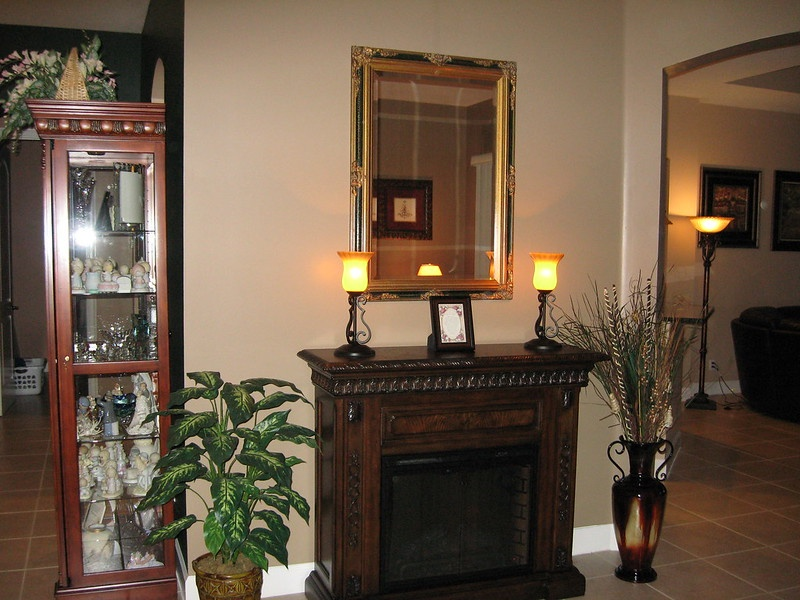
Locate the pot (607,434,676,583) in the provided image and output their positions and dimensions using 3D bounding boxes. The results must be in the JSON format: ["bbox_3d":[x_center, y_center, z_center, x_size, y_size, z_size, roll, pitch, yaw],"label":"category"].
[{"bbox_3d":[1.447,1.261,3.978,0.377,0.868,0.321,2,5,10],"label":"pot"}]

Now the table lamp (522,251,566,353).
[{"bbox_3d":[0.875,-0.010,3.934,0.209,0.551,0.482,4,9,12],"label":"table lamp"}]

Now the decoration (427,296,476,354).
[{"bbox_3d":[0.304,0.112,3.758,0.228,0.317,0.204,-3,18,13],"label":"decoration"}]

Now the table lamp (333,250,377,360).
[{"bbox_3d":[-0.242,0.007,3.583,0.209,0.544,0.436,2,9,-3],"label":"table lamp"}]

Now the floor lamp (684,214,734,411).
[{"bbox_3d":[3.404,0.133,7.335,0.448,2.134,0.940,6,9,27],"label":"floor lamp"}]
